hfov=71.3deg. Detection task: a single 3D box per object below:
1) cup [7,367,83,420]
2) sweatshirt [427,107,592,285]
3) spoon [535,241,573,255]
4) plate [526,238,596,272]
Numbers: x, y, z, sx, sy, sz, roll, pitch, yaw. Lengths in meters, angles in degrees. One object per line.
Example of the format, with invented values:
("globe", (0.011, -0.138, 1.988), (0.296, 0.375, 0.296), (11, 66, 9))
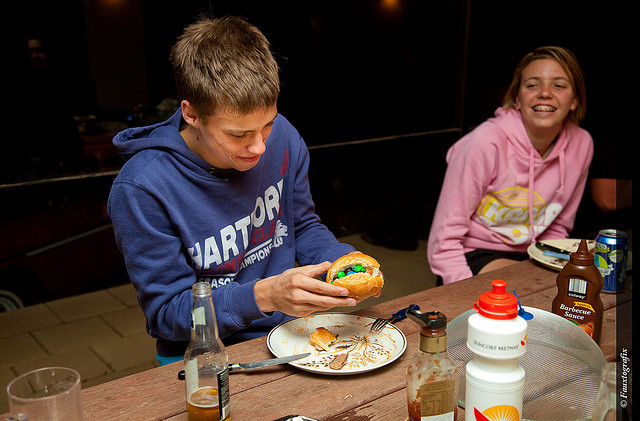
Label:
("cup", (-0.637, 0.442, 1.040), (0.142, 0.100, 0.114), (0, 20, 8))
("sweatshirt", (1.106, -0.128, 2.618), (1.034, 0.884, 0.469), (-15, 24, -28))
("spoon", (1.073, 0.175, 2.057), (0.022, 0.013, 0.150), (-13, 17, -28))
("plate", (1.081, 0.186, 2.051), (0.219, 0.032, 0.217), (-17, 20, -31))
